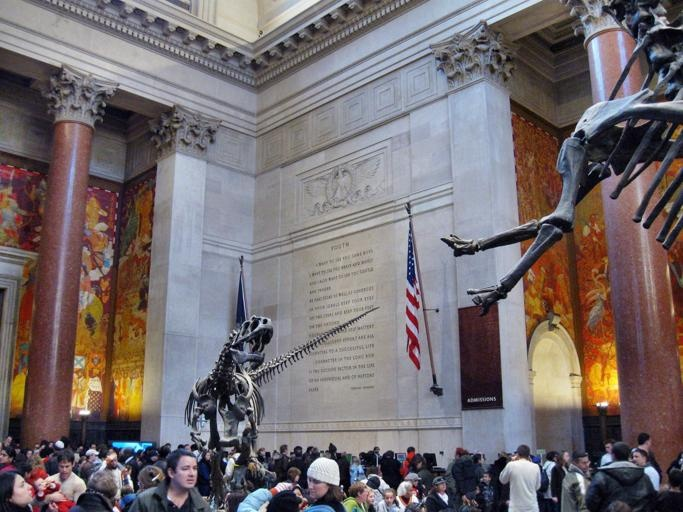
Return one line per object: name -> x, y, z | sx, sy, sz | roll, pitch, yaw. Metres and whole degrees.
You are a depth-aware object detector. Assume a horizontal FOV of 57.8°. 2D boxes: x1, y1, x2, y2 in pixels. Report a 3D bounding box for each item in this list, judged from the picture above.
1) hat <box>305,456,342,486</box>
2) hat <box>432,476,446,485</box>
hat -> -0.126, 1.565, 4.465 | 0.223, 0.195, 0.200 | 1, -18, -6
hat -> 1.190, 2.728, 7.530 | 0.152, 0.095, 0.180 | 4, -11, -17
